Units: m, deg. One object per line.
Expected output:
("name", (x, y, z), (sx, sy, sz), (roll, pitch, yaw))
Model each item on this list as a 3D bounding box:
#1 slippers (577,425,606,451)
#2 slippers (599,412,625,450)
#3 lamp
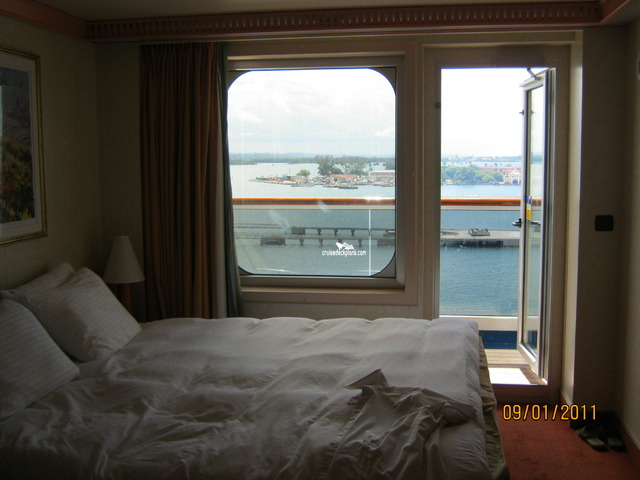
("slippers", (1.865, 1.334, 3.595), (0.137, 0.061, 0.216), (-2, 12, -13))
("slippers", (2.018, 1.299, 3.675), (0.121, 0.167, 0.408), (-6, 3, 17))
("lamp", (-1.440, 0.297, 3.916), (0.262, 0.626, 0.258), (-4, 9, -21))
